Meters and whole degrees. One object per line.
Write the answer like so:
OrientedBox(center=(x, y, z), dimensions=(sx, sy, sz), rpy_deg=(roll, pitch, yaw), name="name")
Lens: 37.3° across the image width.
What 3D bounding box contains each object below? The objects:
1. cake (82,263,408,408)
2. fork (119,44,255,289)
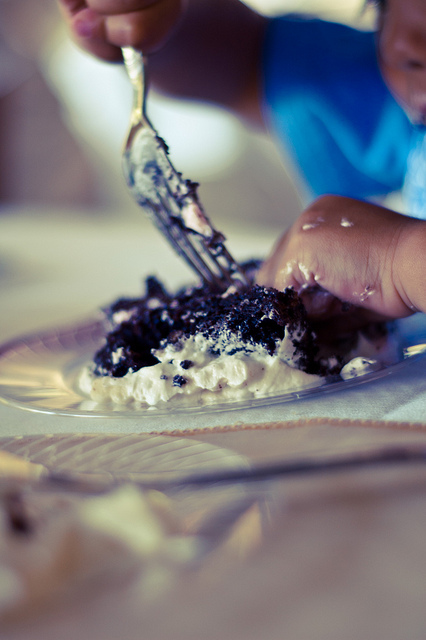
OrientedBox(center=(-0.001, 0.012, 0.568), dimensions=(0.256, 0.066, 0.242), rpy_deg=(-5, 7, -14), name="cake")
OrientedBox(center=(-0.032, -0.193, 0.781), dimensions=(0.053, 0.361, 0.053), rpy_deg=(-2, 42, 45), name="fork")
